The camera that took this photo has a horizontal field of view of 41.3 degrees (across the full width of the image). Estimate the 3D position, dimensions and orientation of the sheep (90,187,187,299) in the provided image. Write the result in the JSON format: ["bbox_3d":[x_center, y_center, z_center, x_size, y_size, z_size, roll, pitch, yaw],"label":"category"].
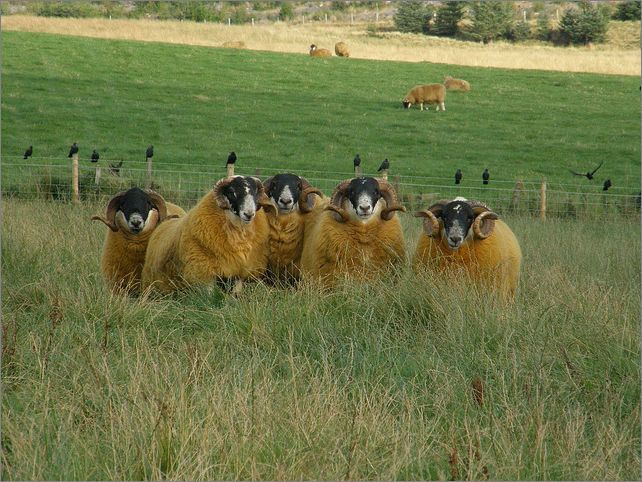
[{"bbox_3d":[-2.996,0.070,13.993,1.139,1.616,2.248,-1,-7,-7],"label":"sheep"}]

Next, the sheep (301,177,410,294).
[{"bbox_3d":[0.529,-0.137,14.022,1.536,2.204,2.539,0,13,-4],"label":"sheep"}]

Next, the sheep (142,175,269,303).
[{"bbox_3d":[-1.788,0.021,13.403,1.414,2.003,2.475,-1,0,-44],"label":"sheep"}]

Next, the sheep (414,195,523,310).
[{"bbox_3d":[2.190,-0.028,13.374,1.243,1.633,2.425,1,12,11],"label":"sheep"}]

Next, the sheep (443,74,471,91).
[{"bbox_3d":[6.666,-7.524,41.485,1.307,0.583,0.765,4,9,19],"label":"sheep"}]

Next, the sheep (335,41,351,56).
[{"bbox_3d":[1.345,-11.267,50.641,0.632,1.054,0.920,-7,-6,-12],"label":"sheep"}]
